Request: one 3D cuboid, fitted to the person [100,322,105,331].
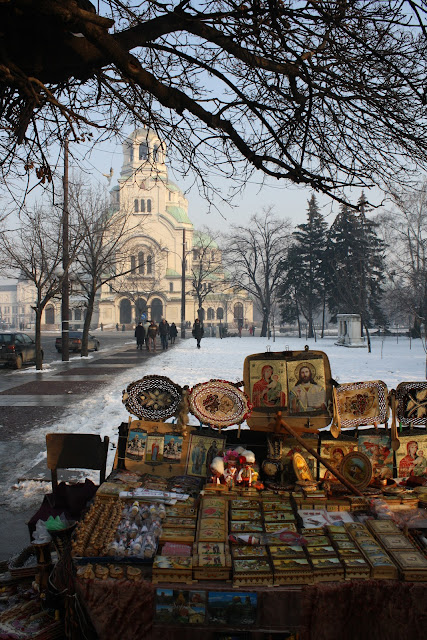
[{"bbox_3d":[-14.162,0.685,71.277,0.494,1.070,2.268,-1,0,-10],"label":"person"}]

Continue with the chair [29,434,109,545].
[{"bbox_3d":[-1.200,1.293,4.760,0.559,0.851,0.761,-1,0,-6],"label":"chair"}]

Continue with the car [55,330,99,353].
[{"bbox_3d":[-7.324,1.238,31.049,1.166,0.875,2.573,0,4,2],"label":"car"}]

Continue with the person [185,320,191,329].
[{"bbox_3d":[-3.145,0.506,68.423,0.596,0.899,0.441,0,-5,-31],"label":"person"}]
